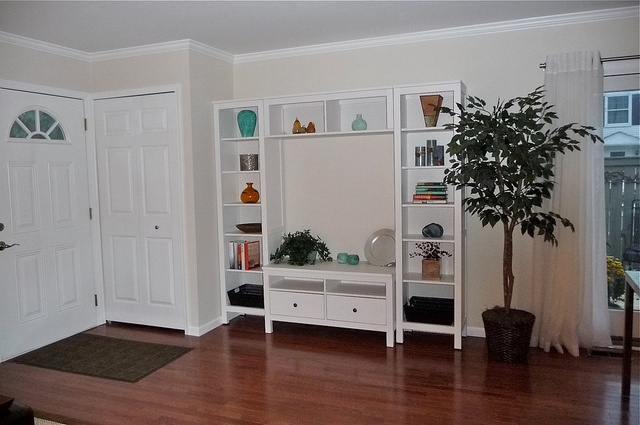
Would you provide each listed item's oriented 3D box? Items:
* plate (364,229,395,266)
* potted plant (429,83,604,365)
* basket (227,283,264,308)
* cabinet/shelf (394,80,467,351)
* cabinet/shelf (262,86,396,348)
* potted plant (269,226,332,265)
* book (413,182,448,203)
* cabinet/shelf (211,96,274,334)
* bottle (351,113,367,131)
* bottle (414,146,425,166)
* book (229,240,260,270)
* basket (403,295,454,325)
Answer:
[{"bbox_3d":[0.627,0.402,5.453,0.405,0.388,0.055,0,-6,32],"label":"plate"},{"bbox_3d":[1.905,0.109,4.849,1.368,2.783,0.821,-3,6,-13],"label":"potted plant"},{"bbox_3d":[-0.931,1.035,5.903,0.346,0.130,0.415,0,-2,2],"label":"basket"},{"bbox_3d":[1.192,0.086,5.287,0.789,2.748,0.412,0,6,17],"label":"cabinet/shelf"},{"bbox_3d":[0.078,0.038,5.563,1.553,2.766,0.827,0,6,9],"label":"cabinet/shelf"},{"bbox_3d":[-0.230,0.428,5.666,0.537,0.289,0.482,3,11,17],"label":"potted plant"},{"bbox_3d":[1.186,-0.209,5.181,0.281,0.160,0.254,0,-1,9],"label":"book"},{"bbox_3d":[-0.992,-0.310,5.908,0.556,2.341,0.476,-2,8,-11],"label":"cabinet/shelf"},{"bbox_3d":[0.439,-1.011,5.420,0.191,0.174,0.189,-6,9,-38],"label":"bottle"},{"bbox_3d":[1.081,-0.603,5.186,0.115,0.205,0.051,1,6,23],"label":"bottle"},{"bbox_3d":[-0.904,0.491,6.036,0.328,0.400,0.429,1,0,26],"label":"book"},{"bbox_3d":[1.205,1.076,5.265,0.430,0.133,0.287,1,4,20],"label":"basket"}]
